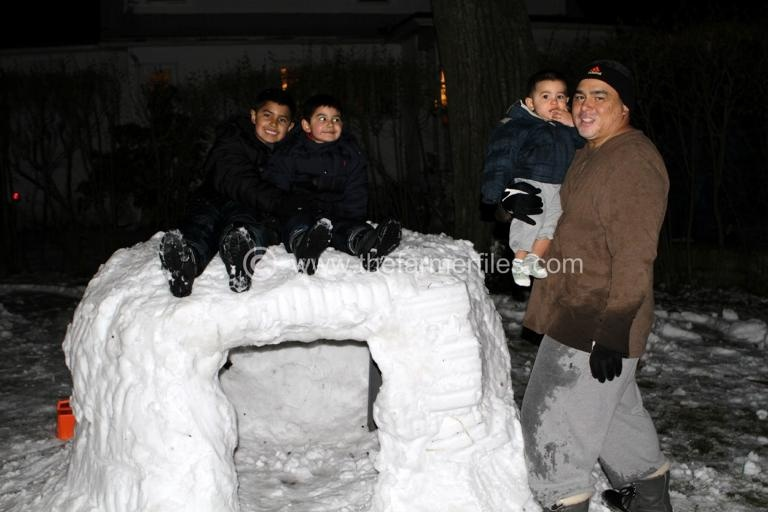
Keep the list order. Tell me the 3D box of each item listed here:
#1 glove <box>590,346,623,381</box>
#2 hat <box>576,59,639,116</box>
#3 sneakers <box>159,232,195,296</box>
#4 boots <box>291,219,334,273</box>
[{"bbox_3d":[1.743,0.779,5.111,0.249,0.144,0.336,-28,14,27],"label":"glove"},{"bbox_3d":[1.860,-1.412,5.304,0.414,0.315,0.398,49,-17,-30],"label":"hat"},{"bbox_3d":[-1.540,0.064,4.998,0.192,0.556,0.243,-1,3,-3],"label":"sneakers"},{"bbox_3d":[-0.567,-0.061,5.191,0.119,0.354,0.243,18,12,-24],"label":"boots"}]
